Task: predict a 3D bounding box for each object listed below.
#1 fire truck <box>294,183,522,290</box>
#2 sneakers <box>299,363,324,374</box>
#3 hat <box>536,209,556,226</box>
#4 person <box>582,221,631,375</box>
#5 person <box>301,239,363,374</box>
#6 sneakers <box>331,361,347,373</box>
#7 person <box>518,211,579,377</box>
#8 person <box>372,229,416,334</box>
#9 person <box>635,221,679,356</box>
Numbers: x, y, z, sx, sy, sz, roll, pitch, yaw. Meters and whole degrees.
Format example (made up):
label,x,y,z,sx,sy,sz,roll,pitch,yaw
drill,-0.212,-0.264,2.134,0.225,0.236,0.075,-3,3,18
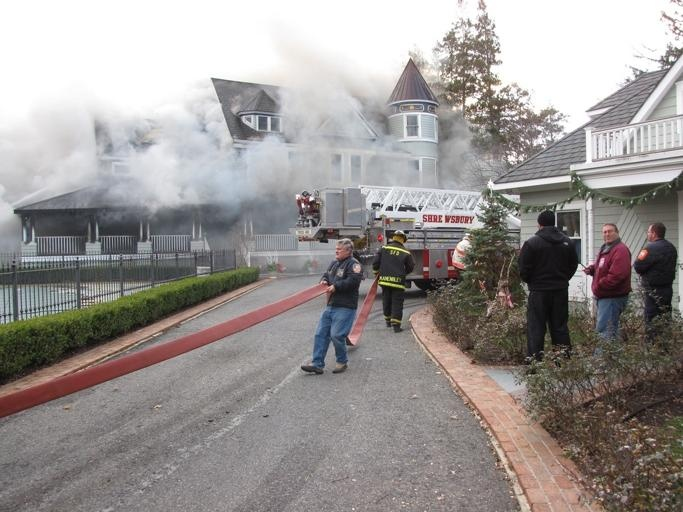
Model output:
label,x,y,z,sx,sy,sz,roll,pitch,yaw
fire truck,2.683,-0.522,19.110,8.457,3.861,2.400,0,-13,-31
sneakers,-0.442,1.695,8.140,0.340,0.184,0.134,15,-13,-8
hat,2.721,-0.504,7.272,0.182,0.239,0.226,6,11,-6
person,3.627,0.391,7.441,0.552,1.642,1.999,0,6,27
person,-0.106,0.741,8.429,0.860,1.998,0.911,-2,5,4
sneakers,-0.048,1.690,8.260,0.088,0.132,0.288,-4,-15,17
person,2.737,0.353,7.150,0.751,1.907,0.491,-4,6,-18
person,1.072,0.527,11.528,0.789,2.074,0.841,-2,5,-1
person,4.358,0.347,7.617,0.518,1.598,0.983,1,6,32
